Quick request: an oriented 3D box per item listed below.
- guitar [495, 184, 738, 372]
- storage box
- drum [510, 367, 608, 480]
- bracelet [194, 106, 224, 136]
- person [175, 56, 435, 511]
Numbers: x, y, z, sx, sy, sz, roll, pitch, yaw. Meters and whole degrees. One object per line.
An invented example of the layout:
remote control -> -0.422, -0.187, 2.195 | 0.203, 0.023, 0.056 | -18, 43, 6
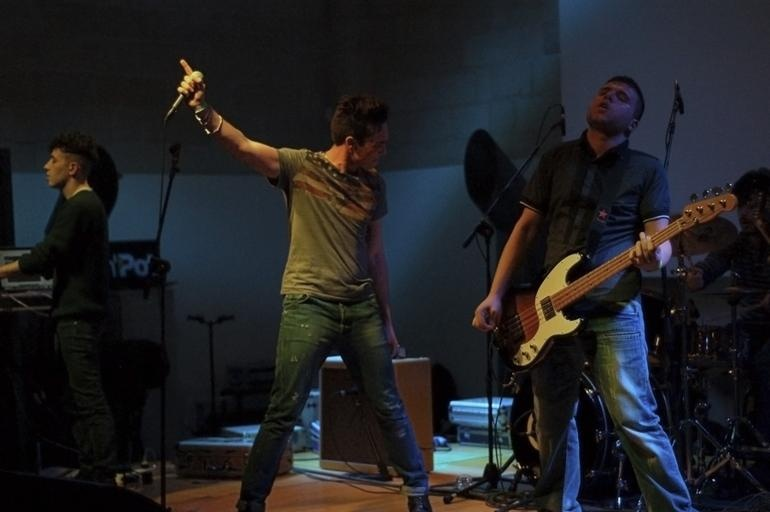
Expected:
guitar -> 1.548, 0.173, 5.104 | 1.351, 0.422, 0.181 | -41, -37, 27
storage box -> -1.271, 1.669, 6.729 | 0.934, 0.416, 0.737 | -2, -9, 19
drum -> 1.320, 1.300, 5.900 | 0.708, 0.820, 0.753 | 3, -2, -32
bracelet -> -1.023, -0.798, 4.612 | 0.189, 0.147, 0.071 | 45, -11, -11
person -> -0.368, 0.268, 4.780 | 1.463, 2.536, 0.371 | 4, -8, -17
